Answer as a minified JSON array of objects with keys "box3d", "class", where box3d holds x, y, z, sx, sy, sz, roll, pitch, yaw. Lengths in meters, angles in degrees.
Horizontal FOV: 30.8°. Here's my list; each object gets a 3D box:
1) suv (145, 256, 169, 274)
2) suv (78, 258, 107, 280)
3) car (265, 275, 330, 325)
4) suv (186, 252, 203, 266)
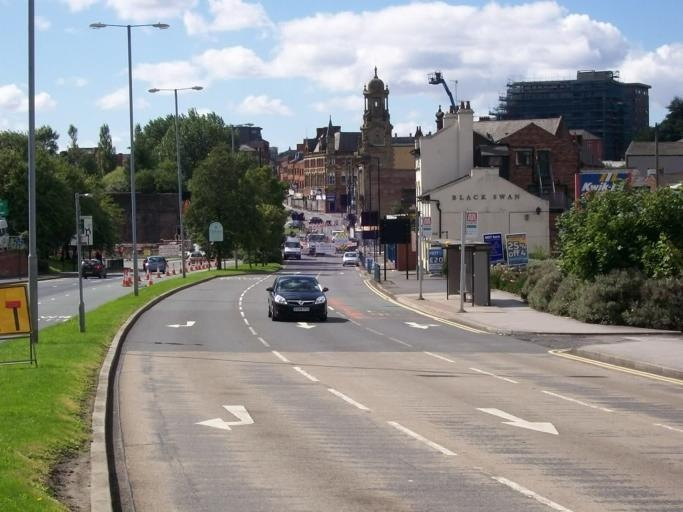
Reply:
[{"box3d":[-13.792,1.013,92.481,1.303,1.093,3.071,0,6,-9],"class":"suv"},{"box3d":[-15.796,0.966,78.864,1.200,1.067,2.791,0,4,0],"class":"suv"},{"box3d":[-1.597,1.778,45.645,2.038,1.551,3.016,0,9,-5],"class":"car"},{"box3d":[-13.737,0.392,117.755,1.231,1.214,2.181,0,-7,-10],"class":"suv"}]
